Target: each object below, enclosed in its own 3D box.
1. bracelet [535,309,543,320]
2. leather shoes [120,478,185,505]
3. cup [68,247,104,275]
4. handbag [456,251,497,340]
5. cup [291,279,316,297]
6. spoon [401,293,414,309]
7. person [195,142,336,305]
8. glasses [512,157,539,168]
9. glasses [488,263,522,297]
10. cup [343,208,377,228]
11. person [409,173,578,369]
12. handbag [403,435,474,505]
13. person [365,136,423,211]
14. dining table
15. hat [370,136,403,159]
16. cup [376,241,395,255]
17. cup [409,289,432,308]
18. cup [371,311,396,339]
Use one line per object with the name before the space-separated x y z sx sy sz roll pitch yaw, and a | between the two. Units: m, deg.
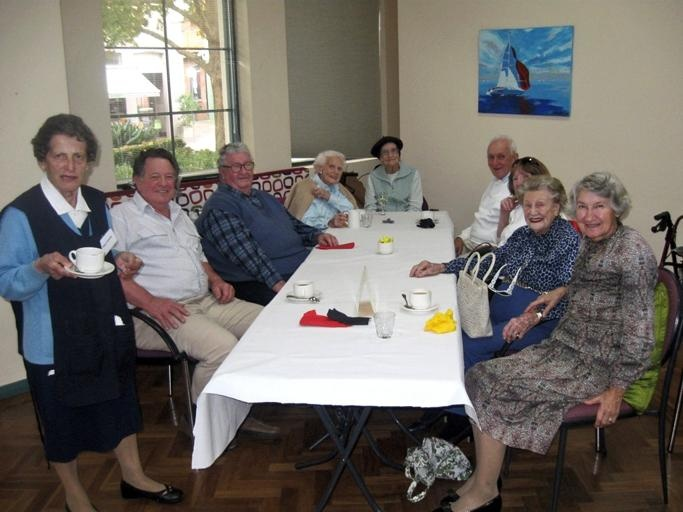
bracelet | 1.040 0.303 2.807 0.038 0.010 0.038 -2 58 -3
leather shoes | -0.956 1.180 2.737 0.311 0.104 0.122 2 2 0
cup | -1.071 0.006 2.256 0.133 0.099 0.101 -6 22 -25
handbag | 0.704 0.168 2.806 0.143 0.403 0.347 -2 21 -5
cup | -0.187 0.159 2.714 0.083 0.060 0.084 0 2 0
spoon | 0.316 0.215 2.559 0.044 0.042 0.158 -15 4 6
person | -0.624 -0.342 4.033 0.803 0.930 1.255 1 15 17
glasses | 1.363 -0.686 3.938 0.181 0.055 0.098 -1 13 17
glasses | 0.931 0.167 3.032 0.157 0.073 0.261 11 54 34
cup | 0.153 -0.287 4.307 0.247 0.174 0.160 4 16 13
person | 0.901 0.184 3.063 0.938 1.234 0.745 -4 13 -13
handbag | 0.498 1.057 2.719 0.332 0.099 0.352 -11 23 17
person | 0.510 -0.763 5.392 0.592 0.837 0.504 3 20 23
dining table | 0.136 0.539 2.846 1.071 1.081 1.887 -2 13 13
hat | 0.468 -1.149 5.428 0.282 0.112 0.281 -12 9 -14
cup | 0.284 -0.049 3.476 0.080 0.069 0.077 0 20 0
cup | 0.364 0.198 2.501 0.083 0.062 0.084 -1 15 0
cup | 0.179 0.284 2.263 0.099 0.106 0.097 -2 12 0
